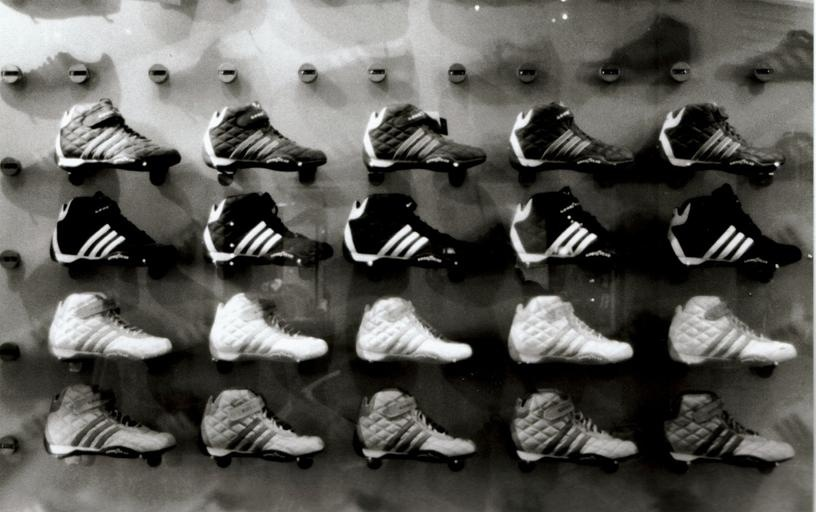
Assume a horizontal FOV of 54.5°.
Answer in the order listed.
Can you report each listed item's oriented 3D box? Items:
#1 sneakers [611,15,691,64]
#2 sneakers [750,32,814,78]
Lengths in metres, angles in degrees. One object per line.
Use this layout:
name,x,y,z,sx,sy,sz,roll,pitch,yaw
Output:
sneakers,1.280,-1.158,4.312,0.537,0.188,0.262,-8,95,-4
sneakers,2.119,-1.080,4.271,0.446,0.167,0.249,-4,97,1
